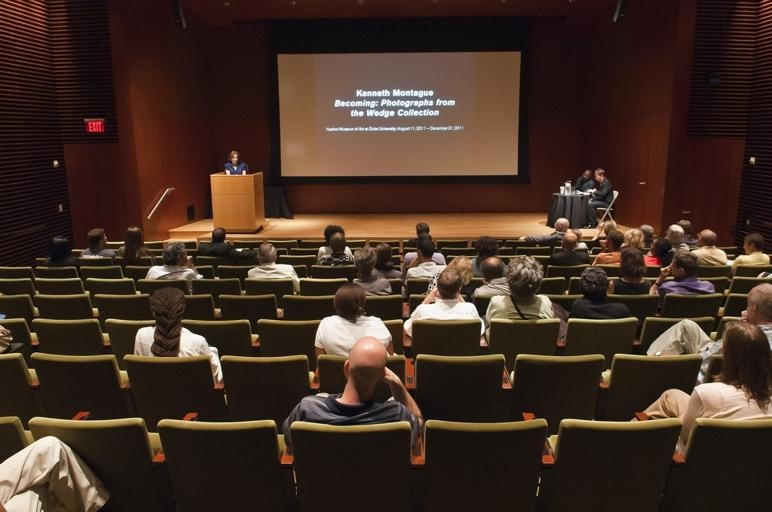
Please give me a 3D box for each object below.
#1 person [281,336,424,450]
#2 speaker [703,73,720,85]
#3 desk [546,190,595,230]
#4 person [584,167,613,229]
[{"bbox_3d":[-0.239,1.026,4.303,1.024,0.874,0.413,0,7,1],"label":"person"},{"bbox_3d":[6.637,-3.582,11.714,0.193,0.220,0.062,-1,6,10],"label":"speaker"},{"bbox_3d":[4.086,-1.154,12.970,0.766,0.571,0.826,-2,21,-3],"label":"desk"},{"bbox_3d":[4.901,-1.331,13.232,0.603,1.285,0.529,5,18,25],"label":"person"}]
